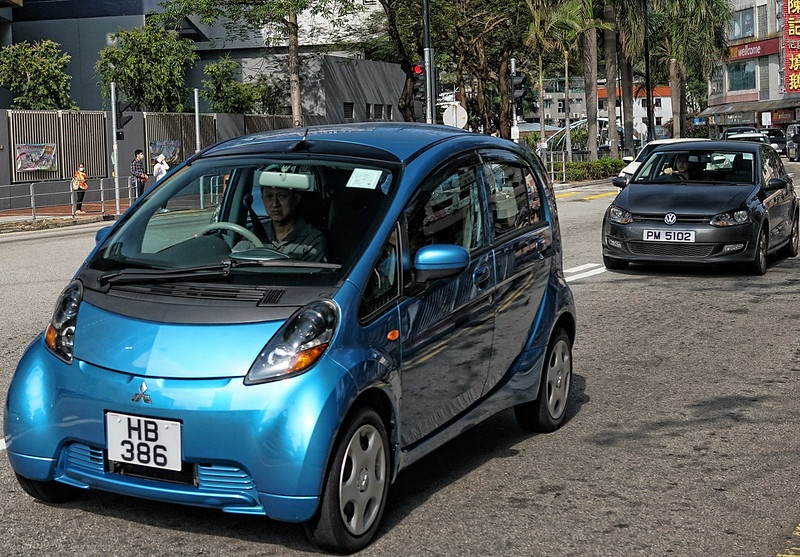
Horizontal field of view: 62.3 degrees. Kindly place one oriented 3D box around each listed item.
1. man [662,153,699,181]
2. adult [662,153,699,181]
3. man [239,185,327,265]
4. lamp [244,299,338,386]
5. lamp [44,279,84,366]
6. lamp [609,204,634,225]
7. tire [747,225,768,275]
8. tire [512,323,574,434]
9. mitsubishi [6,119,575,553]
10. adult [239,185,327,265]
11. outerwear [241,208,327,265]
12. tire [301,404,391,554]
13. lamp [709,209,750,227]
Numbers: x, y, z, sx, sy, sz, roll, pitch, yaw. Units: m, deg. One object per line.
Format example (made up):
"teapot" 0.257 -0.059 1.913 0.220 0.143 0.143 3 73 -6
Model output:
"man" 5.246 -2.036 12.186 0.430 0.643 0.308 10 -15 23
"adult" 5.289 -2.006 12.334 0.430 0.643 0.308 10 -15 23
"man" -0.741 -0.402 4.218 0.682 0.559 0.342 4 12 17
"lamp" -0.467 0.302 3.150 0.333 0.132 0.627 0 30 27
"lamp" -1.763 0.227 3.465 0.236 0.419 0.114 5 -4 36
"lamp" 3.808 -1.122 11.472 0.166 0.298 0.497 -3 9 -23
"tire" 6.168 -0.509 11.400 0.233 0.861 0.890 5 9 34
"tire" 1.131 0.751 5.153 0.244 0.841 0.769 4 3 32
"mitsubishi" -0.423 0.129 3.940 3.290 2.216 1.682 -6 10 -40
"adult" -0.747 -0.408 4.217 0.693 0.559 0.354 6 16 18
"outerwear" -0.613 -0.219 4.029 0.384 0.408 0.163 8 22 28
"tire" -0.273 0.938 3.134 0.187 0.718 0.585 5 -10 29
"lamp" 5.446 -0.997 10.893 0.401 0.179 0.323 -4 2 -19
